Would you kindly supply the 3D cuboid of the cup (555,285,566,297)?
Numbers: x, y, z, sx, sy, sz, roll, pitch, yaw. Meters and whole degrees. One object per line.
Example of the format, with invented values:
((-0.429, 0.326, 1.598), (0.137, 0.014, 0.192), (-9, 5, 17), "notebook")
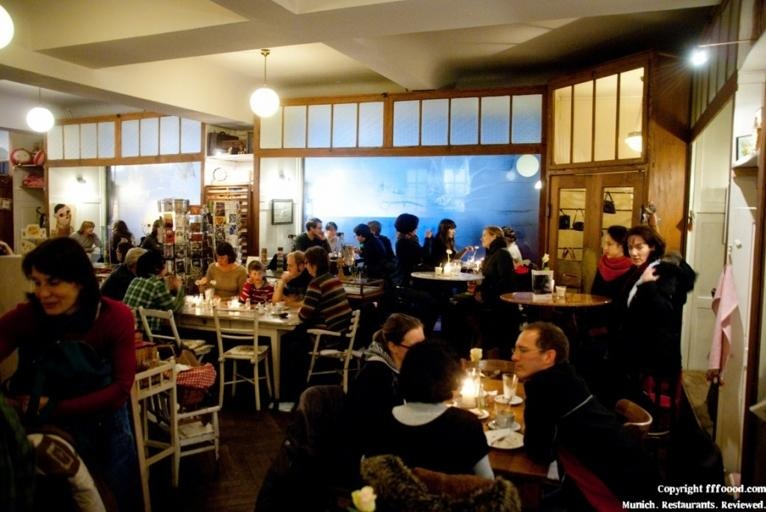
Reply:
((2.040, 0.401, 6.590), (0.130, 0.096, 0.110), (3, 6, 8), "cup")

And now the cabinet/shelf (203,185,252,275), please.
((-2.603, -0.618, 10.048), (0.790, 1.381, 0.463), (6, 14, 10), "cabinet/shelf")

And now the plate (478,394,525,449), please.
((0.800, 1.129, 3.886), (0.335, 0.110, 0.310), (-1, 4, 4), "plate")

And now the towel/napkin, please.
((2.782, 0.534, 4.696), (0.190, 0.932, 0.303), (2, 4, 30), "towel/napkin")

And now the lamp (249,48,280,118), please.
((-1.644, -2.409, 8.057), (0.424, 0.896, 0.427), (-6, 19, -28), "lamp")

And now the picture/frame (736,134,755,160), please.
((2.855, -0.851, 4.543), (0.085, 0.225, 0.398), (2, 5, 25), "picture/frame")

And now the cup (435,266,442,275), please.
((0.791, 0.212, 8.179), (0.098, 0.099, 0.081), (1, -2, 5), "cup")

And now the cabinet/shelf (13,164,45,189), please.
((-7.384, -1.639, 12.028), (0.523, 0.486, 0.465), (-3, 5, -38), "cabinet/shelf")
